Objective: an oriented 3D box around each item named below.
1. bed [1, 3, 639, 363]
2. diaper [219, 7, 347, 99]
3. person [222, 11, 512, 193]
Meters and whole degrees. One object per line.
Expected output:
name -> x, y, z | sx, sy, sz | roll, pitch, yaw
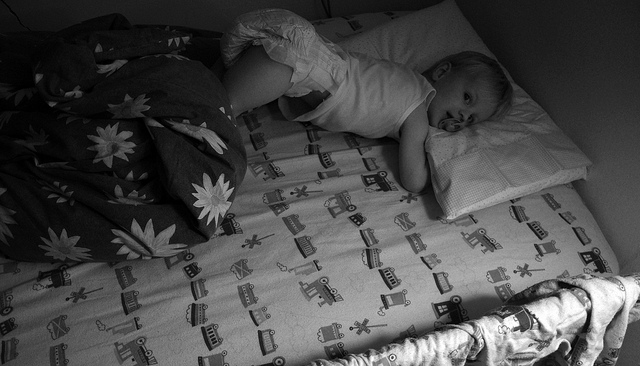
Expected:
bed -> -0.017, 0.101, 1.911 | 2.367, 0.658, 1.360 | -2, 55, -12
diaper -> -0.140, -0.567, 2.170 | 0.475, 0.196, 0.338 | -28, 94, 6
person -> 0.168, -0.445, 2.319 | 1.376, 0.673, 0.625 | 17, 29, -22
